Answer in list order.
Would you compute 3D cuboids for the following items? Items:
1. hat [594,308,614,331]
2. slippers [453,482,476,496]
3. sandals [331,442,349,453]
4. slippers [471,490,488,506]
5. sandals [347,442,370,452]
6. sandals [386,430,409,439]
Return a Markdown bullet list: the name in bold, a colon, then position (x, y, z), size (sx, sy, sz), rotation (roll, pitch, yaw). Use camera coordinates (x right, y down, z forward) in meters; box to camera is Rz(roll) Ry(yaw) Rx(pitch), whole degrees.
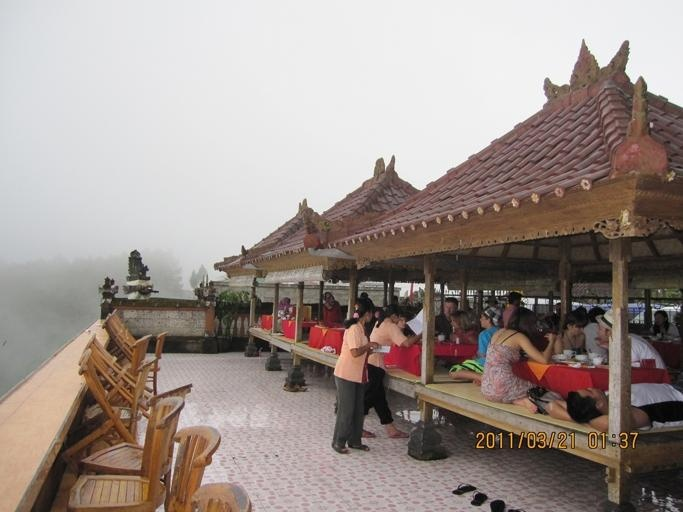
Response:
- **hat**: position (3.573, 0.855, 6.614), size (0.146, 0.306, 0.773), rotation (0, -3, 25)
- **slippers**: position (1.541, 2.892, 6.084), size (0.260, 0.043, 0.422), rotation (-1, -3, 32)
- **sandals**: position (-0.014, 2.878, 7.343), size (0.247, 0.137, 0.129), rotation (1, -2, 1)
- **slippers**: position (1.641, 2.883, 5.814), size (0.164, 0.062, 0.343), rotation (-1, -3, 33)
- **sandals**: position (0.266, 2.908, 7.511), size (0.343, 0.156, 0.129), rotation (-1, -2, 6)
- **sandals**: position (0.927, 2.955, 8.131), size (0.343, 0.155, 0.125), rotation (-4, -4, 6)
